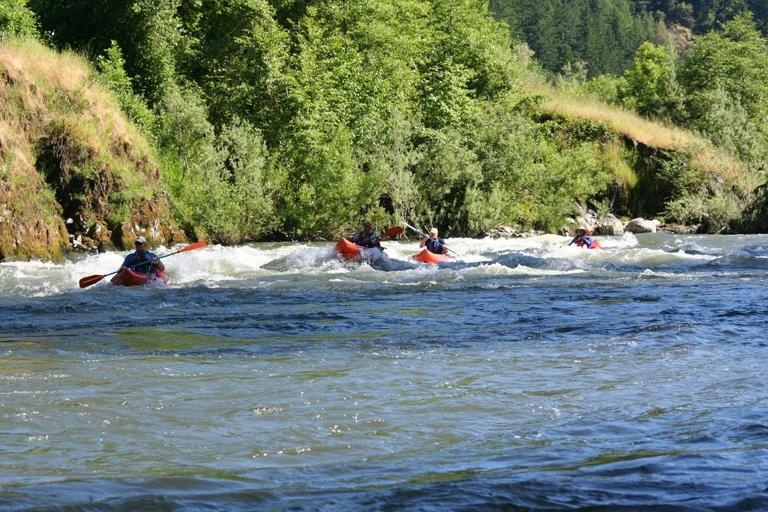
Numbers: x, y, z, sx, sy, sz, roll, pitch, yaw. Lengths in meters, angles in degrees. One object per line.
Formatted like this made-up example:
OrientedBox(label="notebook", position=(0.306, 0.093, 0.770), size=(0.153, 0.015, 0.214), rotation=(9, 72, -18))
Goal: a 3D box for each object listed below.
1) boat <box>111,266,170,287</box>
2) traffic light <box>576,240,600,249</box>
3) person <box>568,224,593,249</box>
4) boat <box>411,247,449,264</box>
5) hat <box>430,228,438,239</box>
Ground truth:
OrientedBox(label="boat", position=(-7.451, 0.754, 45.123), size=(1.153, 0.356, 0.803), rotation=(5, -8, -35))
OrientedBox(label="traffic light", position=(7.441, -0.353, 52.435), size=(0.589, 0.201, 0.395), rotation=(2, -2, -12))
OrientedBox(label="person", position=(7.461, -0.685, 55.620), size=(0.501, 0.927, 0.728), rotation=(28, -2, -30))
OrientedBox(label="boat", position=(1.632, 0.019, 49.197), size=(1.200, 0.443, 1.215), rotation=(-2, 7, -1))
OrientedBox(label="hat", position=(1.717, -0.793, 50.462), size=(0.290, 0.304, 0.320), rotation=(-7, -36, 17))
